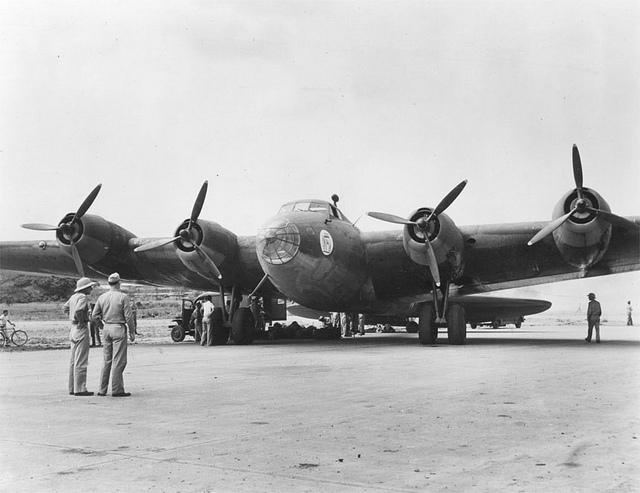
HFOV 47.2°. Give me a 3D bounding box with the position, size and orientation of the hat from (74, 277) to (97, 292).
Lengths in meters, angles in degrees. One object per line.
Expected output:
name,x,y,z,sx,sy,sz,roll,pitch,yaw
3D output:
hat,-3.842,0.619,11.943,0.205,0.084,0.216,-20,2,-3

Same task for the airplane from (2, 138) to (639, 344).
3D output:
airplane,0.821,0.658,22.837,16.796,4.742,9.597,0,-8,11

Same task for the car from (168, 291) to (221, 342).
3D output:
car,-4.913,2.829,28.091,2.246,1.455,1.490,5,-3,-32

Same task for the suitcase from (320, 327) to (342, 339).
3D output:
suitcase,0.349,3.083,26.127,0.412,0.280,0.418,-1,0,-21
